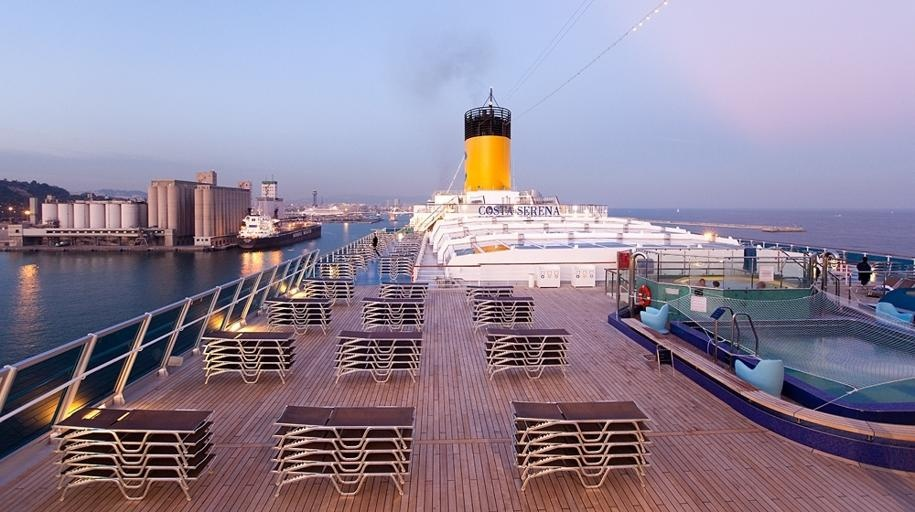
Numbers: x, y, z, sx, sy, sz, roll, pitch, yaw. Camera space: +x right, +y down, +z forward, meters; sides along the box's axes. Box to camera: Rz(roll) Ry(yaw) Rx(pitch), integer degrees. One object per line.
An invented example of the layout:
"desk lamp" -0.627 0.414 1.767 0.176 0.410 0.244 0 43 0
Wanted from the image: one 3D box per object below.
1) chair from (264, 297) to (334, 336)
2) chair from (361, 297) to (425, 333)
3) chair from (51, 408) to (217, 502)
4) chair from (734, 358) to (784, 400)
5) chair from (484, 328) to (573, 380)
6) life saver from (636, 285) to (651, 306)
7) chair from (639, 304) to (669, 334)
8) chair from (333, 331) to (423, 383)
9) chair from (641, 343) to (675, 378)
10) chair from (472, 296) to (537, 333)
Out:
"chair" -4.362 1.518 16.031 1.737 0.729 1.048 2 6 5
"chair" -1.782 1.620 16.178 1.505 0.582 1.015 0 -2 -3
"chair" -5.560 3.487 9.873 2.522 1.362 0.789 0 7 1
"chair" 6.311 2.521 11.879 0.836 0.963 0.892 2 6 6
"chair" 1.613 2.279 13.178 1.844 1.010 0.856 0 7 5
"life saver" 5.262 1.105 16.051 0.129 0.569 0.541 -2 12 -17
"chair" 5.129 1.621 14.976 0.645 0.754 0.842 -4 8 -38
"chair" -1.815 2.315 13.091 1.915 1.039 1.065 0 7 -2
"chair" 4.788 2.394 13.561 0.580 0.539 1.109 0 6 -2
"chair" 1.348 1.545 16.012 1.770 0.693 0.891 -1 2 -3
